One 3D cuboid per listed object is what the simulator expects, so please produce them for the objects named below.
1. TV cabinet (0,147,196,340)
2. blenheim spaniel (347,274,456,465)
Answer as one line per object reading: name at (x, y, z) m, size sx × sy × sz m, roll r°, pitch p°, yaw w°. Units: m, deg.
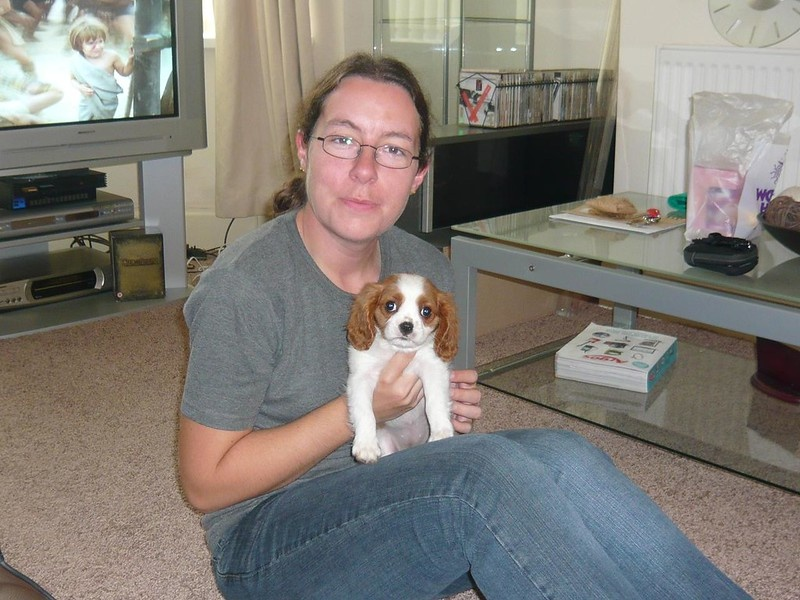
TV cabinet at (-1.712, -0.298, 3.528) m, size 0.868 × 0.634 × 0.502 m, roll -24°, pitch 36°, yaw -35°
blenheim spaniel at (0.000, 0.130, 1.496) m, size 0.248 × 0.409 × 0.262 m, roll -2°, pitch 20°, yaw -16°
